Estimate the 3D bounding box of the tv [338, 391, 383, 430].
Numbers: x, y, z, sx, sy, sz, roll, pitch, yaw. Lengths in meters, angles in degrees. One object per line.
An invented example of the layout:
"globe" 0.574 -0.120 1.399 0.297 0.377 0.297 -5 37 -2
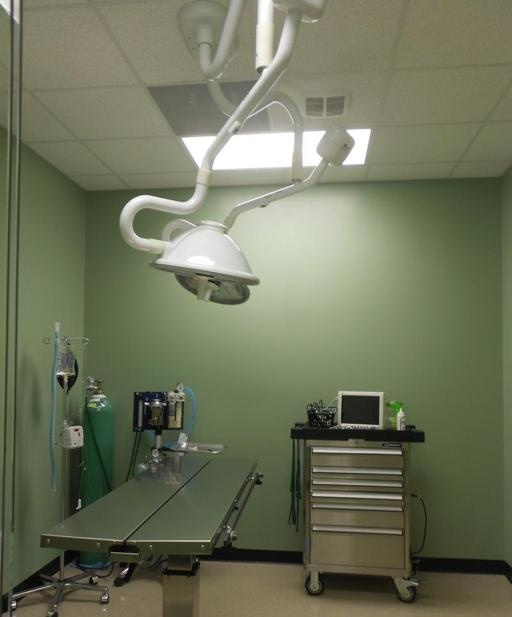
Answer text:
"tv" 0.654 0.591 3.413 0.336 0.298 0.189 0 -5 12
